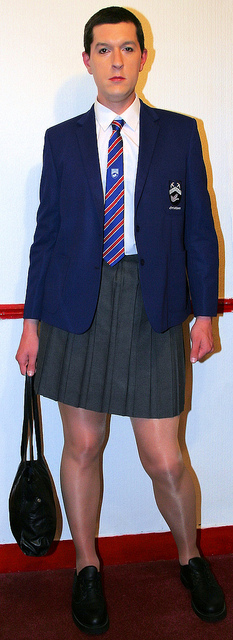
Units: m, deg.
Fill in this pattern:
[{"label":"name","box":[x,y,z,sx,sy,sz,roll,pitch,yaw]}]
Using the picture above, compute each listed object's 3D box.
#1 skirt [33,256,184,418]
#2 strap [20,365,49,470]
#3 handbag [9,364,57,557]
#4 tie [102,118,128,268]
[{"label":"skirt","box":[-0.035,0.051,1.202,0.405,0.407,0.132,2,23,8]},{"label":"strap","box":[-0.253,0.309,1.357,0.068,0.382,0.079,12,16,37]},{"label":"handbag","box":[-0.243,0.433,1.364,0.153,0.511,0.177,5,26,12]},{"label":"tie","box":[-0.005,-0.348,1.169,0.058,0.026,0.466,1,65,6]}]
